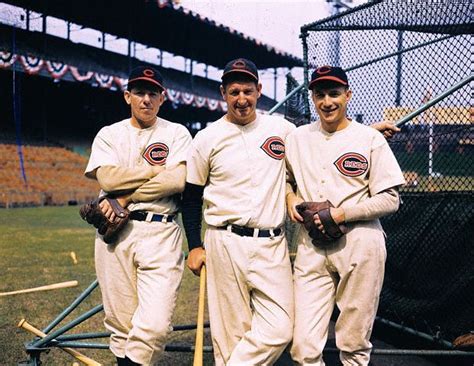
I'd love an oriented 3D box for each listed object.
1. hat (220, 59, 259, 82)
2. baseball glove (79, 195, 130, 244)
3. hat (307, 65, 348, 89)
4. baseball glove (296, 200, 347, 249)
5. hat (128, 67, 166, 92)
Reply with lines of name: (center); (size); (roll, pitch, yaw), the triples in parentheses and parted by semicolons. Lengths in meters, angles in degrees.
hat: (0.035, -1.191, 7.470); (0.340, 0.290, 0.486); (0, -7, 2)
baseball glove: (-1.409, 0.387, 7.653); (0.562, 0.411, 0.245); (42, 0, 5)
hat: (0.935, -1.109, 7.374); (0.344, 0.271, 0.512); (-8, -5, 14)
baseball glove: (0.862, 0.343, 7.399); (0.495, 0.284, 0.661); (2, 20, -6)
hat: (-1.005, -1.136, 7.746); (0.358, 0.279, 0.466); (8, -15, -20)
